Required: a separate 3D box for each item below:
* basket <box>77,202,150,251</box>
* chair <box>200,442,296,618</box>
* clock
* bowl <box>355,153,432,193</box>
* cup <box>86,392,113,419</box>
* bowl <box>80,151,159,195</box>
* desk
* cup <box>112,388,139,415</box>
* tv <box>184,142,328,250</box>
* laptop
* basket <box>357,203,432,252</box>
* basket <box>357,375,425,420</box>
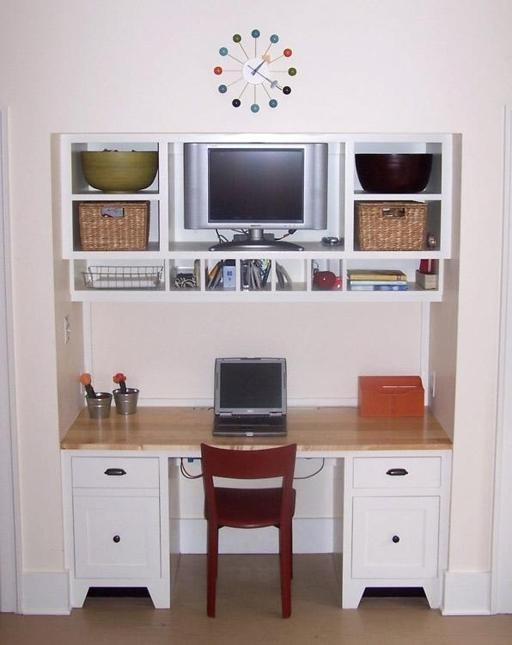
[{"bbox_3d":[-0.622,-0.404,3.142,0.297,0.189,0.158,-2,-1,-11],"label":"basket"},{"bbox_3d":[-0.029,0.843,3.053,0.373,0.800,0.415,1,10,1],"label":"chair"},{"bbox_3d":[-0.001,-0.996,2.792,0.321,0.298,0.022,0,9,-1],"label":"clock"},{"bbox_3d":[0.619,-0.672,3.209,0.367,0.165,0.357,0,13,0],"label":"bowl"},{"bbox_3d":[-0.721,0.380,3.313,0.116,0.089,0.123,1,2,0],"label":"cup"},{"bbox_3d":[-0.623,-0.666,3.207,0.362,0.165,0.360,-2,12,0],"label":"bowl"},{"bbox_3d":[0.009,0.883,3.307,1.677,0.712,0.486,0,1,0],"label":"desk"},{"bbox_3d":[-0.610,0.369,3.375,0.115,0.091,0.125,0,3,0],"label":"cup"},{"bbox_3d":[-0.018,-0.551,3.208,0.671,0.456,0.204,-3,12,-23],"label":"tv"},{"bbox_3d":[-0.022,0.335,3.222,0.357,0.306,0.269,0,6,-2],"label":"laptop"},{"bbox_3d":[0.586,-0.412,3.063,0.246,0.154,0.237,0,9,6],"label":"basket"},{"bbox_3d":[0.631,0.336,3.441,0.312,0.175,0.220,1,12,-3],"label":"basket"}]
